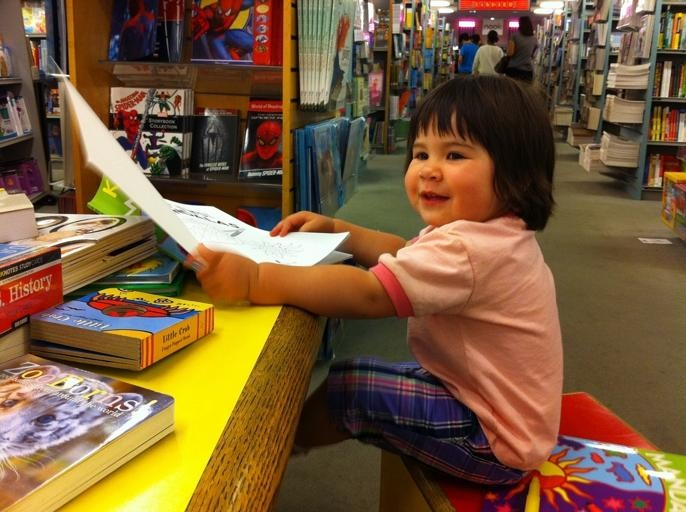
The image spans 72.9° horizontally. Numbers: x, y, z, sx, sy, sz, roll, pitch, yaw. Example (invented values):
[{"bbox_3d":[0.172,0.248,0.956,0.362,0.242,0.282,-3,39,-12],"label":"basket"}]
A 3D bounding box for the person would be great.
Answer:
[{"bbox_3d":[0.105,0.070,1.001,0.663,0.867,0.482,10,8,14],"label":"person"}]
